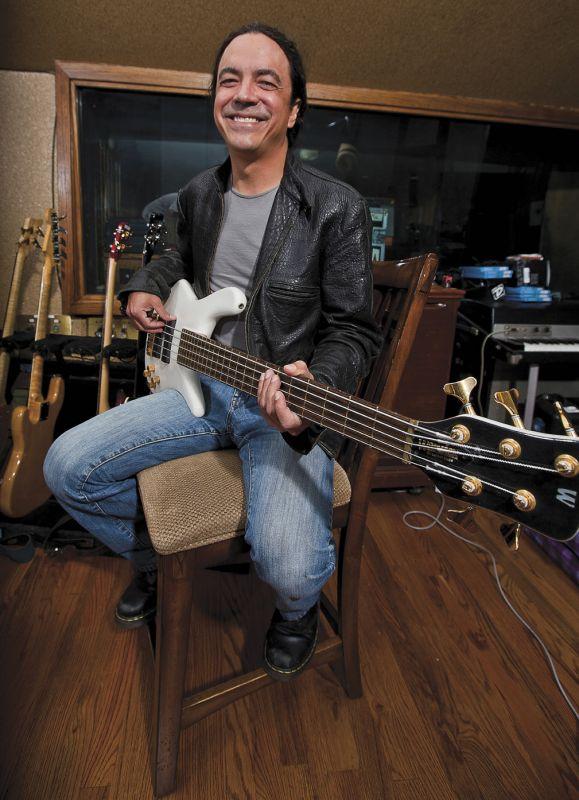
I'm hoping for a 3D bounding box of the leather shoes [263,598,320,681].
[{"bbox_3d":[0.017,0.478,1.224,0.098,0.090,0.241,6,26,11],"label":"leather shoes"}]

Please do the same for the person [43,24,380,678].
[{"bbox_3d":[-0.142,-0.108,1.382,0.752,1.444,0.601,9,14,24],"label":"person"}]

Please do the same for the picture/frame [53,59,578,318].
[{"bbox_3d":[0.039,-0.815,2.082,1.428,0.784,0.057,2,26,-4],"label":"picture/frame"}]

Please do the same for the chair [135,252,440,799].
[{"bbox_3d":[-0.094,0.062,1.709,0.966,1.535,0.831,0,14,-19],"label":"chair"}]

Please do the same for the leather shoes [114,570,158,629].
[{"bbox_3d":[-0.412,0.532,1.591,0.083,0.093,0.228,5,9,7],"label":"leather shoes"}]
